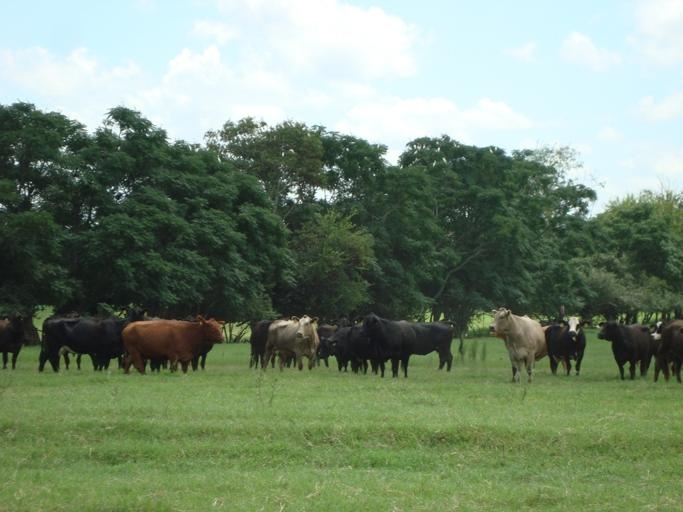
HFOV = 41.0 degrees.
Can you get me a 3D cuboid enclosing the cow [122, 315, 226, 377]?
[{"bbox_3d":[-6.027,3.086,31.775,3.223,2.057,1.258,4,-11,-14],"label":"cow"}]
